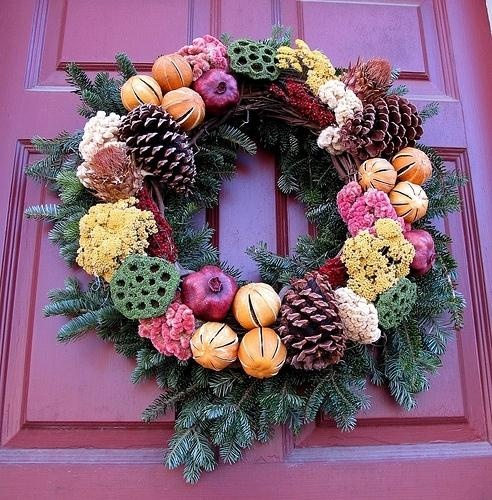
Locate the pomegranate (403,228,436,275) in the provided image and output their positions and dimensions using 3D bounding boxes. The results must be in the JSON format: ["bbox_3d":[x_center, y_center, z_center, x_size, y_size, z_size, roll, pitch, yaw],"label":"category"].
[{"bbox_3d":[0.343,0.001,1.201,0.073,0.073,0.080,3,18,2],"label":"pomegranate"}]

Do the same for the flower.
[{"bbox_3d":[0.028,-0.030,1.307,0.906,0.582,0.881,-21,59,-24],"label":"flower"}]

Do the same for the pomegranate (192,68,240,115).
[{"bbox_3d":[-0.057,-0.330,1.284,0.116,0.083,0.092,-1,22,-6],"label":"pomegranate"}]
